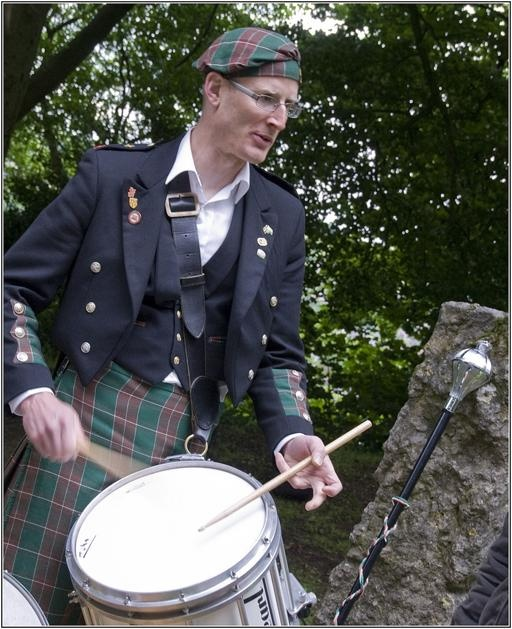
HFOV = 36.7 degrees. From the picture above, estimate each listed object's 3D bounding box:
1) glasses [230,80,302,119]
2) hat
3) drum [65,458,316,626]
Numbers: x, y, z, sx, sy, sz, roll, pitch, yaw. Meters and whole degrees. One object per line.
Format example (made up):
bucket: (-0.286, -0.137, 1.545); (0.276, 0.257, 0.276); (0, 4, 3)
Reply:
glasses: (0.037, -0.671, 2.429); (0.166, 0.049, 0.125); (38, 24, 27)
hat: (-0.027, -0.817, 2.440); (0.241, 0.082, 0.237); (14, 21, 37)
drum: (-0.219, 0.588, 2.034); (0.511, 0.339, 0.476); (-1, 25, 1)
